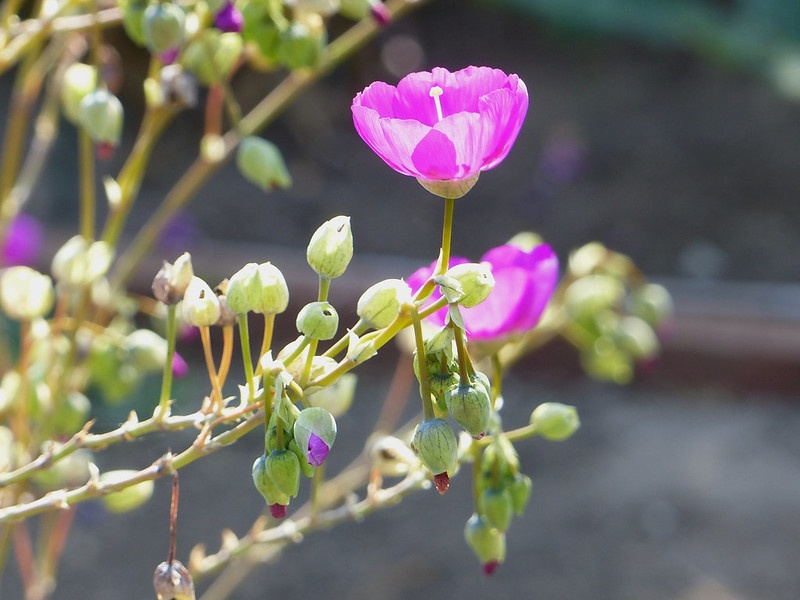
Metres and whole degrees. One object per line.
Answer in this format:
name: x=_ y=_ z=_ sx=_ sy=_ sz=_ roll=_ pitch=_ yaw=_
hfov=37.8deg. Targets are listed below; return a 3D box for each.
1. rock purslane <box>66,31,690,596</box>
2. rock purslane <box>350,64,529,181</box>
rock purslane: x=-0.023 y=0.041 z=1.049 sx=0.474 sy=0.443 sz=0.346 roll=-15 pitch=60 yaw=22
rock purslane: x=0.038 y=-0.116 z=0.934 sx=0.097 sy=0.105 sz=0.072 roll=-6 pitch=90 yaw=-30
